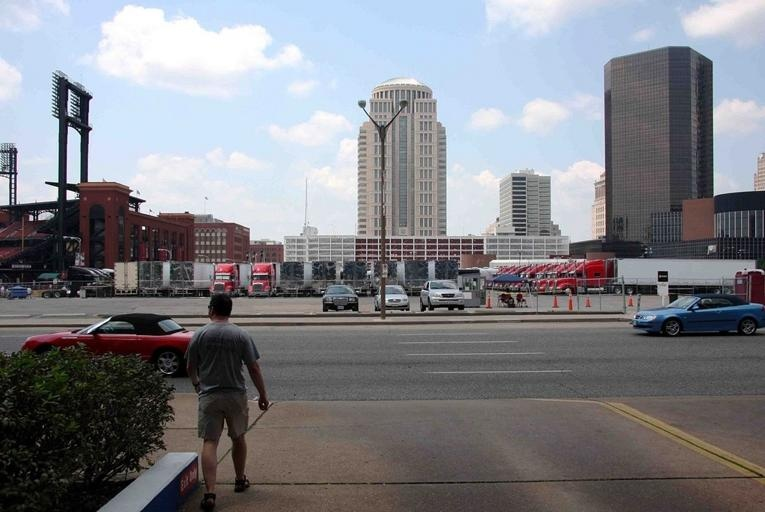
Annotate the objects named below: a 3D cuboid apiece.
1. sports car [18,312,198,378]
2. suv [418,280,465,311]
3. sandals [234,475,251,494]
[{"bbox_3d":[-6.658,2.079,20.524,4.705,1.374,2.076,2,4,-2],"label":"sports car"},{"bbox_3d":[2.855,1.986,40.686,1.207,0.949,2.421,0,-8,-6],"label":"suv"},{"bbox_3d":[-2.267,3.664,12.998,0.132,0.148,0.352,0,1,5],"label":"sandals"}]
